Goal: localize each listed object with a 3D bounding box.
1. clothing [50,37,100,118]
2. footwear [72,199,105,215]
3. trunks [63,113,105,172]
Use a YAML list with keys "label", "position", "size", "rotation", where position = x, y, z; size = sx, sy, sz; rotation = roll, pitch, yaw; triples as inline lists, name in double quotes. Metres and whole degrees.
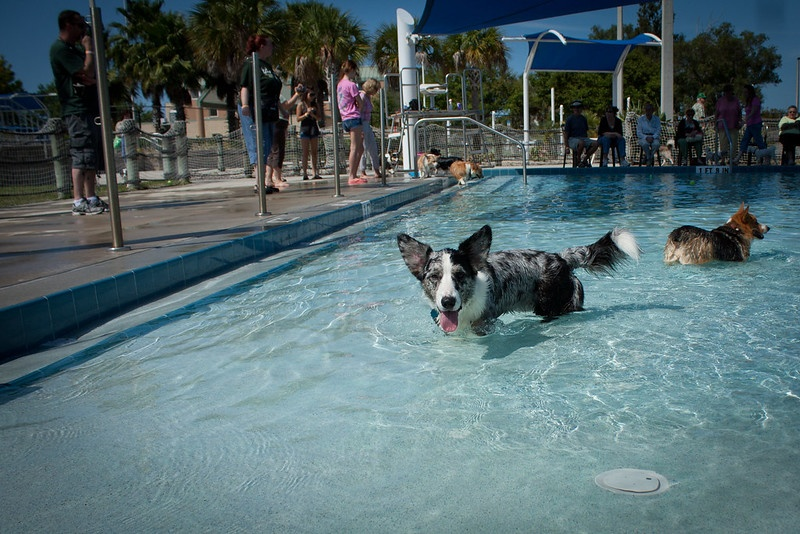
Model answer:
- label: "clothing"
  position: [-4.302, -2.515, 7.106]
  size: [0.448, 0.967, 0.330]
  rotation: [-11, 17, -30]
- label: "footwear"
  position: [-4.372, -0.843, 7.546]
  size: [0.472, 0.219, 0.186]
  rotation: [-1, 13, -3]
- label: "trunks"
  position: [-4.183, -1.673, 7.161]
  size: [0.401, 0.746, 0.376]
  rotation: [-11, 16, -29]
